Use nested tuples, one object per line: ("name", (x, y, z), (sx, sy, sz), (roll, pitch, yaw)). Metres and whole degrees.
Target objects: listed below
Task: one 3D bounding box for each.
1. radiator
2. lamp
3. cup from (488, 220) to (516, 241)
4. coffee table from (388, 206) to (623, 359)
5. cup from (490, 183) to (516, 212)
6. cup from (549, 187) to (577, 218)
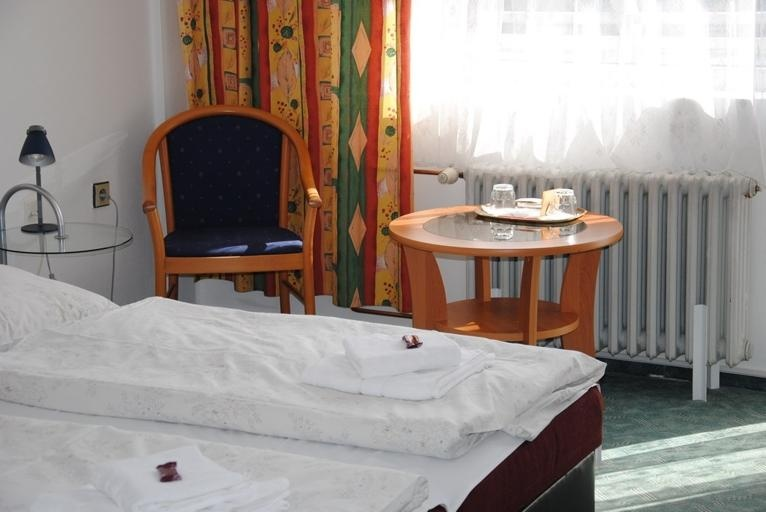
("radiator", (1.202, 0.051, 3.229), (0.946, 0.690, 0.148), (5, 13, 26))
("lamp", (-1.669, -0.380, 3.122), (0.155, 0.495, 0.428), (-5, 12, -28))
("cup", (0.545, -0.120, 2.995), (0.103, 0.086, 0.087), (-1, 10, -2))
("coffee table", (0.528, 0.016, 3.035), (0.794, 0.661, 0.840), (1, 9, 26))
("cup", (0.592, -0.292, 3.262), (0.109, 0.127, 0.115), (0, 4, 0))
("cup", (0.892, -0.264, 3.228), (0.118, 0.145, 0.139), (-1, 3, -10))
